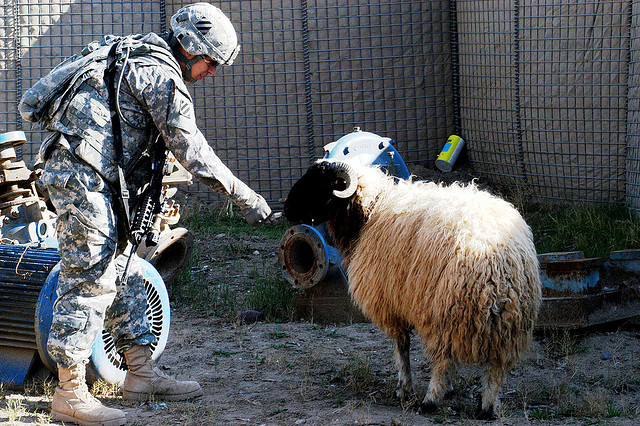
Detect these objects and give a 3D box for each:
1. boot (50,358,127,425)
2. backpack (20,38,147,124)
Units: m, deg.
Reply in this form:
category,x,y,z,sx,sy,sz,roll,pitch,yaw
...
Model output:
category,x,y,z,sx,sy,sz,roll,pitch,yaw
boot,-1.996,1.618,7.282,0.643,0.574,0.298,0,4,26
backpack,-1.999,-1.011,7.320,0.879,0.307,0.792,-34,14,-1
